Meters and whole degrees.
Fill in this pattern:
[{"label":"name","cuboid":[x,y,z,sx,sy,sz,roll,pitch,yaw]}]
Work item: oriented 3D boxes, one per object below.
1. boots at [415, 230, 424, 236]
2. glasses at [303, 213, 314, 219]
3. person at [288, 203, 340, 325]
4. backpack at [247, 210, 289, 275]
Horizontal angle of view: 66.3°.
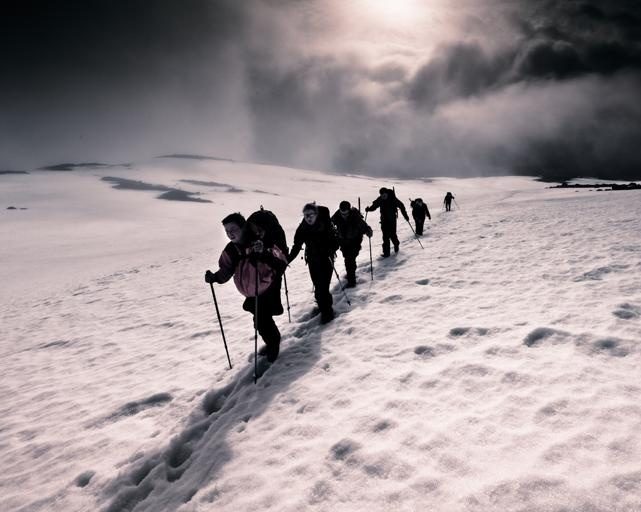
[{"label":"boots","cuboid":[3.620,-0.857,18.054,0.326,0.303,0.175,-1,-11,5]},{"label":"glasses","cuboid":[-0.241,-0.805,9.724,0.121,0.092,0.119,1,-4,4]},{"label":"person","cuboid":[-0.139,0.139,10.139,1.046,2.479,0.708,-5,14,-19]},{"label":"backpack","cuboid":[-0.886,-0.318,8.840,0.440,1.092,0.740,-19,-6,-41]}]
